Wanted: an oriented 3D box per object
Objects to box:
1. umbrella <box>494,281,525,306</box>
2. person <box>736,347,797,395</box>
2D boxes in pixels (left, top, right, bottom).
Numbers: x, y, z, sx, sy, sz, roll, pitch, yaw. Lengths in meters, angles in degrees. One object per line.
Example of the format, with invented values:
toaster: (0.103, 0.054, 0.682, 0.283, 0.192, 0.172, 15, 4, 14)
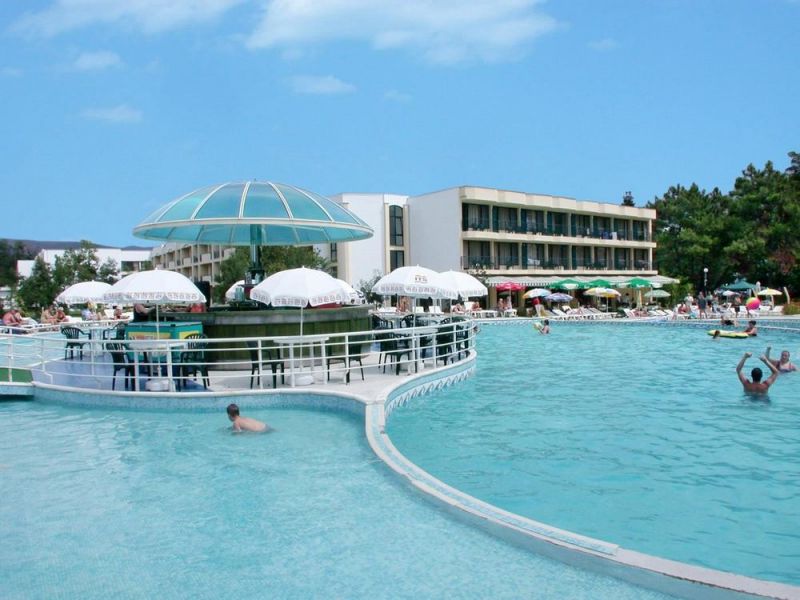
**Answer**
umbrella: (7.822, -0.391, 51.166, 1.662, 1.080, 1.673, -4, 5, -12)
person: (9.253, 1.809, 18.295, 0.783, 1.561, 0.443, 6, 8, 30)
